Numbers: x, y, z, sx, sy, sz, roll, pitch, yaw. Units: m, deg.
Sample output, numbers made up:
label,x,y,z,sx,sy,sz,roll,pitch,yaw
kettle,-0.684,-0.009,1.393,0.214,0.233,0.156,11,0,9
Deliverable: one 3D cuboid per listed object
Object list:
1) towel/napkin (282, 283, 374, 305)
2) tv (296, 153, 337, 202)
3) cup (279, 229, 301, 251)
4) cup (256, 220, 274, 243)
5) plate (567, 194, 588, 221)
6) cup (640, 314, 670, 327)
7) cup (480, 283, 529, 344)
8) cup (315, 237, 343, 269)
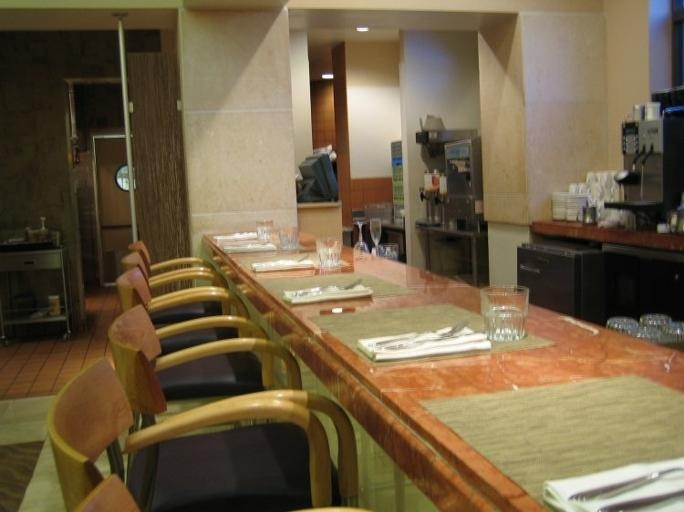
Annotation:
label,x,y,z,sx,sy,sz,roll,pitch,yaw
towel/napkin,-0.052,0.120,1.745,0.177,0.036,0.114,-4,7,-20
tv,-0.326,-0.778,5.755,0.381,0.469,0.347,-20,14,-28
cup,-0.275,-0.088,2.990,0.098,0.121,0.105,-1,7,0
cup,-0.485,-0.148,3.463,0.113,0.142,0.117,0,9,0
plate,1.831,-0.381,4.369,0.136,0.205,0.063,0,-4,37
cup,1.074,0.220,1.906,0.061,0.069,0.066,0,2,0
cup,0.381,0.129,1.310,0.104,0.129,0.107,-4,7,0
cup,-0.059,-0.017,2.361,0.113,0.155,0.124,1,17,0
